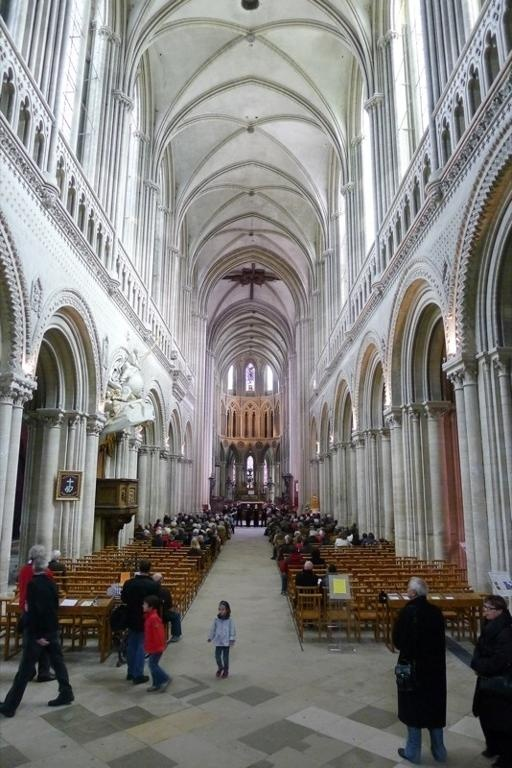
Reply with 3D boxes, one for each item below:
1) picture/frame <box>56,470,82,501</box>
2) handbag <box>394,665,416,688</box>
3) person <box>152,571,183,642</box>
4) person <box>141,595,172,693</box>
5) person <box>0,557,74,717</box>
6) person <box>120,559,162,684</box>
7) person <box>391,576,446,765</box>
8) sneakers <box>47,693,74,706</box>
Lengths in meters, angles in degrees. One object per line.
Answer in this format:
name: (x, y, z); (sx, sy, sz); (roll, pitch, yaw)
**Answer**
picture/frame: (-4.032, 2.180, 10.662); (0.627, 0.923, 0.099); (0, -31, -8)
handbag: (0.943, 1.850, 3.133); (0.108, 0.148, 0.100); (-3, -13, 12)
person: (-1.217, 2.992, 6.657); (0.339, 0.959, 0.470); (-9, -8, 20)
person: (-0.953, 2.478, 4.776); (0.278, 0.859, 0.445); (2, -13, -10)
person: (-1.874, 2.151, 4.289); (0.506, 1.208, 0.691); (-4, -13, 16)
person: (-1.228, 2.485, 5.248); (0.377, 1.265, 0.341); (3, -3, 23)
person: (1.067, 1.871, 3.263); (0.440, 1.115, 0.312); (9, -16, -38)
sneakers: (-1.688, 2.714, 4.258); (0.223, 0.101, 0.085); (0, -41, 7)
